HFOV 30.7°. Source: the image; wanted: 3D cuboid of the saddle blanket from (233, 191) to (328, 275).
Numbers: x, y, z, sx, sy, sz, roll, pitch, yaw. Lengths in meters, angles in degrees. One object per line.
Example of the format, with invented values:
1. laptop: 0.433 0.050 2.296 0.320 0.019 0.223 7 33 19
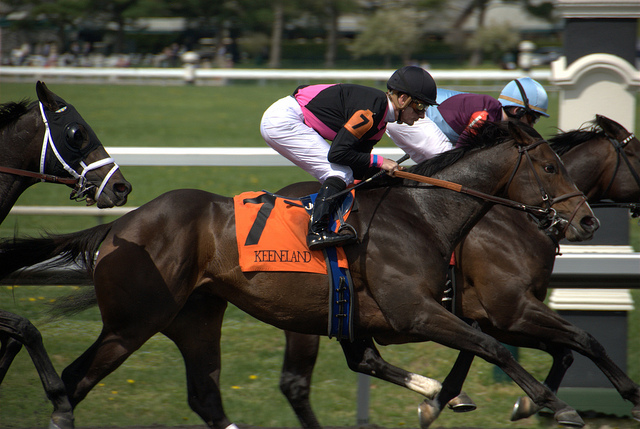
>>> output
1. saddle blanket: -0.317 0.165 8.872 0.958 0.582 0.128 2 -27 -5

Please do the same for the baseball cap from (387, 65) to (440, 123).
1. baseball cap: 0.692 -0.936 9.006 0.386 0.440 0.217 1 14 2

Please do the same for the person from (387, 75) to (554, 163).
1. person: 1.083 -0.771 9.798 1.742 0.661 0.430 5 2 30

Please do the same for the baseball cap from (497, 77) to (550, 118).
1. baseball cap: 1.707 -1.020 9.681 0.489 0.229 0.349 15 26 38

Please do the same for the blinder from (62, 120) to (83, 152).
1. blinder: -1.903 -0.609 8.858 0.109 0.235 0.091 10 16 32
